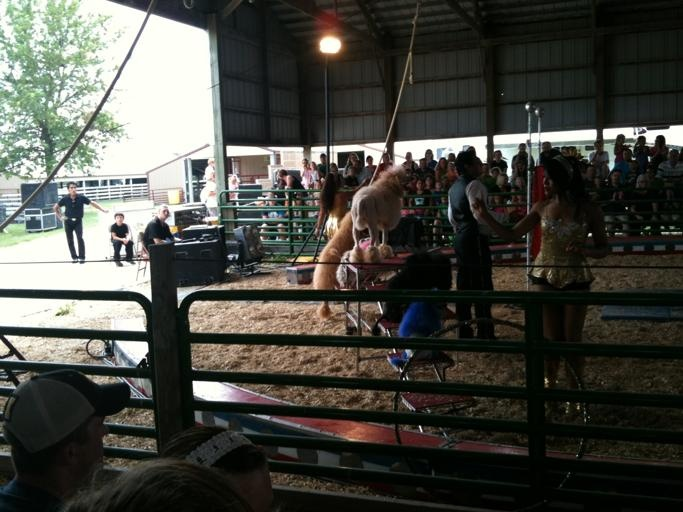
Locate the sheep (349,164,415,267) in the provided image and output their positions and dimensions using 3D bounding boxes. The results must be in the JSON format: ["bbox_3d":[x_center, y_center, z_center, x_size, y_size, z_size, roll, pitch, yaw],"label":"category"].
[{"bbox_3d":[0.430,-0.608,7.755,0.552,0.990,0.875,3,9,28],"label":"sheep"}]

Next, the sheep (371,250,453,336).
[{"bbox_3d":[0.565,0.166,4.912,0.549,0.549,1.086,0,8,4],"label":"sheep"}]

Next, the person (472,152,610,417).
[{"bbox_3d":[1.478,0.224,4.484,0.757,1.857,1.034,1,8,16],"label":"person"}]

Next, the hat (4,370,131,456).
[{"bbox_3d":[-1.058,0.590,2.420,0.381,0.204,0.239,-26,25,-38],"label":"hat"}]

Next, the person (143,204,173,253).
[{"bbox_3d":[-3.318,-0.446,11.295,0.510,0.830,1.353,-3,9,-17],"label":"person"}]
